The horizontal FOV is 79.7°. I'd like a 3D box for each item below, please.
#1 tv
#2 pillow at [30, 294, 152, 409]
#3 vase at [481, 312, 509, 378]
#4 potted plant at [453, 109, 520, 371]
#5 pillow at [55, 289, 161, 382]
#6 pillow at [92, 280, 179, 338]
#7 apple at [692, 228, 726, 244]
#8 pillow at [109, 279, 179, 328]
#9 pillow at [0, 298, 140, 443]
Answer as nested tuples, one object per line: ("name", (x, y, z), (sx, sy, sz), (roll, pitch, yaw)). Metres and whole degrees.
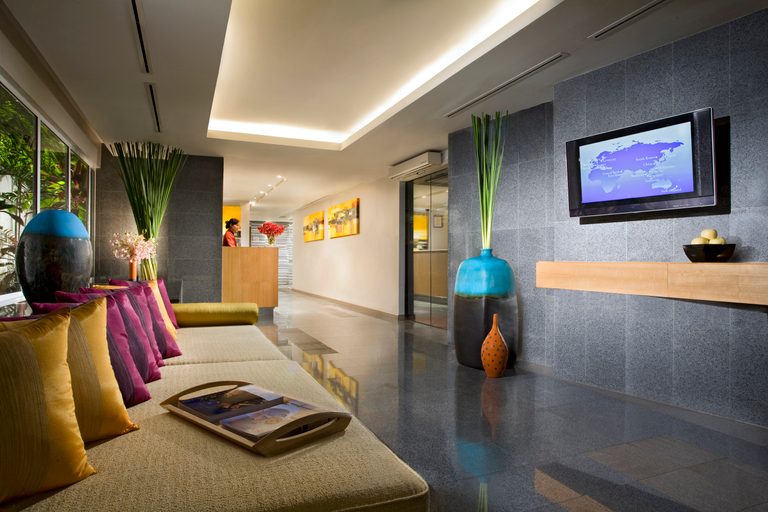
("tv", (2.292, -0.826, 4.061), (0.121, 0.773, 1.145), (-1, -1, -40))
("pillow", (-1.534, 0.493, 2.534), (0.196, 0.625, 0.660), (-13, -6, -7))
("vase", (1.138, 0.935, 4.770), (0.251, 0.648, 0.157), (1, 6, 17))
("potted plant", (1.108, -0.126, 5.032), (0.671, 2.833, 0.412), (0, 6, 9))
("pillow", (-1.523, 0.473, 2.777), (0.178, 0.582, 0.598), (-15, 2, -16))
("pillow", (-2.099, 0.431, 3.857), (0.187, 0.601, 0.634), (-10, -15, -9))
("apple", (2.514, -0.181, 3.584), (0.168, 0.066, 0.164), (-8, 4, -40))
("pillow", (-2.102, 0.446, 4.109), (0.167, 0.536, 0.561), (-10, -1, 2))
("pillow", (-1.417, 0.542, 2.090), (0.251, 0.644, 0.613), (-22, -5, 15))
